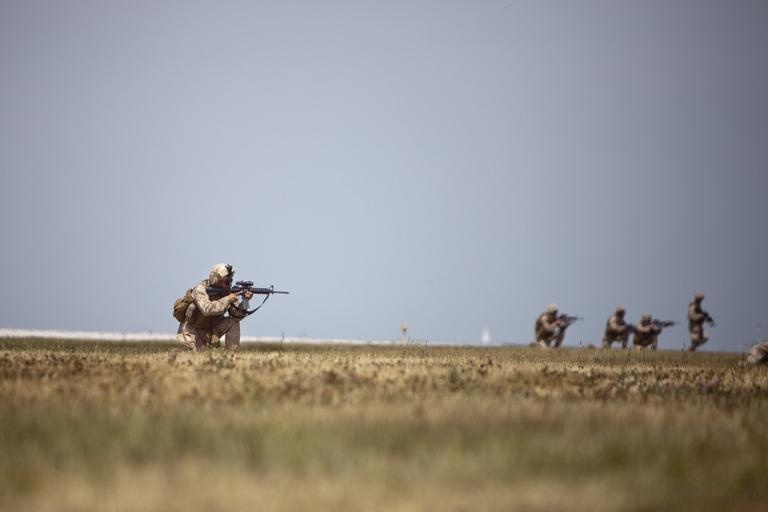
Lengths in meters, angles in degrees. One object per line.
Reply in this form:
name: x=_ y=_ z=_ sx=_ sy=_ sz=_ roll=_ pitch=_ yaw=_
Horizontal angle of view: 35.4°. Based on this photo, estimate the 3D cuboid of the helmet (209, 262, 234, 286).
helmet: x=-3.009 y=0.380 z=22.312 sx=0.508 sy=0.473 sz=0.413 roll=6 pitch=1 yaw=-6

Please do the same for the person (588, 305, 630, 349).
person: x=5.972 y=1.934 z=30.161 sx=0.815 sy=1.256 sz=0.679 roll=-1 pitch=1 yaw=-16

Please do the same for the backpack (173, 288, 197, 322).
backpack: x=-4.019 y=1.047 z=24.221 sx=0.313 sy=0.681 sz=0.497 roll=1 pitch=-3 yaw=32
